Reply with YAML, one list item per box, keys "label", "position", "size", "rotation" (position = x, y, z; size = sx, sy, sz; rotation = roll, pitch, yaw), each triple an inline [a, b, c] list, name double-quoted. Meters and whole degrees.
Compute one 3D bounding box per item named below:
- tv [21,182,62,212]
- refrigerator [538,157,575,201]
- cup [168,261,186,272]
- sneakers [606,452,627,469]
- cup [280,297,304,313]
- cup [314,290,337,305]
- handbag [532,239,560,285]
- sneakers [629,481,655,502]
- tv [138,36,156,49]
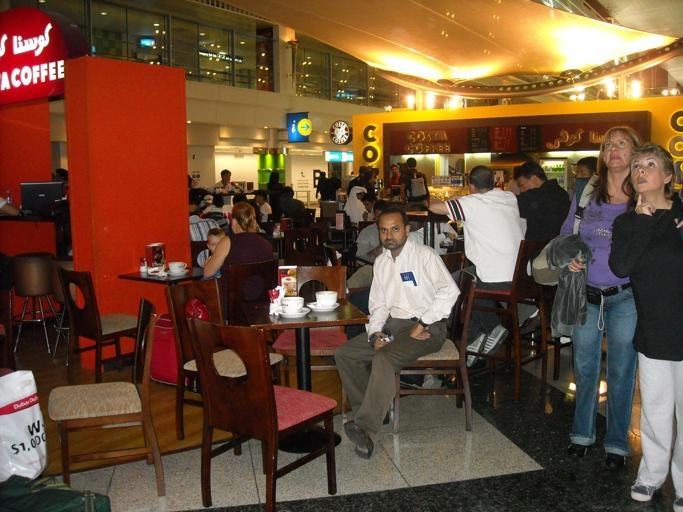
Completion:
- label: "tv"
  position: [-3.851, -0.783, 7.237]
  size: [0.618, 0.404, 0.426]
  rotation: [0, 8, -22]
- label: "refrigerator"
  position: [4.862, -1.763, 12.928]
  size: [0.524, 0.946, 0.322]
  rotation: [0, -18, 17]
- label: "cup"
  position: [-1.482, 0.085, 5.133]
  size: [0.093, 0.059, 0.114]
  rotation: [-3, -6, 24]
- label: "sneakers"
  position: [1.671, 1.229, 3.427]
  size: [0.114, 0.086, 0.054]
  rotation: [0, 11, 10]
- label: "cup"
  position: [-0.321, 0.298, 3.605]
  size: [0.106, 0.076, 0.101]
  rotation: [-1, 2, 0]
- label: "cup"
  position: [-0.092, 0.270, 3.730]
  size: [0.091, 0.070, 0.103]
  rotation: [0, -2, -43]
- label: "handbag"
  position: [1.296, 0.043, 3.568]
  size: [0.264, 0.086, 0.190]
  rotation: [-35, -33, 0]
- label: "sneakers"
  position: [1.689, 1.291, 3.130]
  size: [0.169, 0.086, 0.076]
  rotation: [-4, 11, -14]
- label: "tv"
  position: [-4.866, -5.399, 14.216]
  size: [0.111, 0.299, 0.499]
  rotation: [4, 12, 29]
